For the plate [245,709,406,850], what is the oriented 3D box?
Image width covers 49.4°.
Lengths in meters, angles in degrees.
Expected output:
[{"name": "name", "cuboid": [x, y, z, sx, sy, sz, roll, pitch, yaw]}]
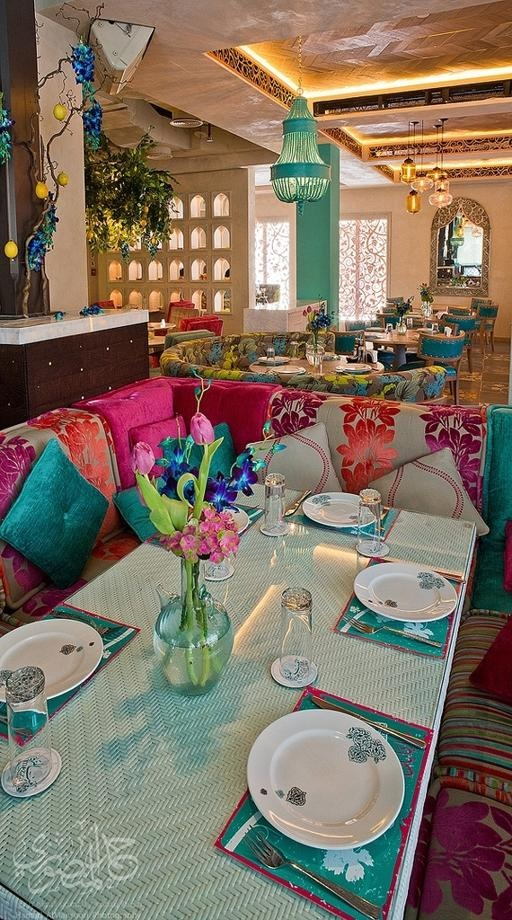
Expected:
[{"name": "plate", "cuboid": [0.087, 0.411, 0.730, 0.200, 0.034, 0.251, -1, 12, 7]}]

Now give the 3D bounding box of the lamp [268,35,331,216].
[{"name": "lamp", "cuboid": [0.270, -2.062, 3.536, 0.337, 0.903, 1.075, -1, 11, 4]}]

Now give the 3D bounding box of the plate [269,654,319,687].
[{"name": "plate", "cuboid": [0.063, 0.367, 0.970, 0.048, 0.012, 0.054, -1, 26, 8]}]
